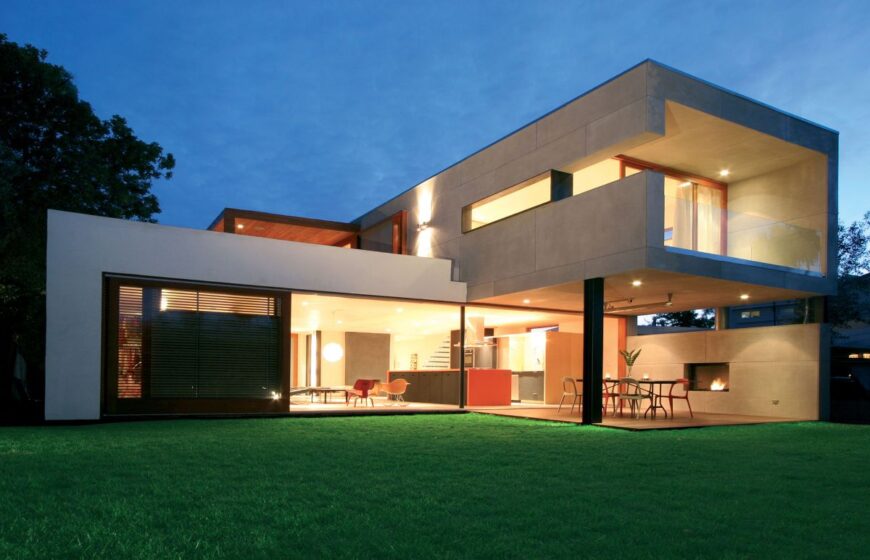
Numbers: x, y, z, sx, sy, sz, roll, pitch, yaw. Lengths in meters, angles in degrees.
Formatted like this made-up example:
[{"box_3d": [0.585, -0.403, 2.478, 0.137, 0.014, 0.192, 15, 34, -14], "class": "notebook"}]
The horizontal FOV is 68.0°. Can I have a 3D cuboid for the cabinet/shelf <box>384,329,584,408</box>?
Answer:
[{"box_3d": [1.622, 2.832, 20.820, 4.536, 2.393, 4.303, 1, -1, -34], "class": "cabinet/shelf"}]

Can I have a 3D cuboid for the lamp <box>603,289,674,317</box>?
[{"box_3d": [5.613, 0.718, 18.058, 1.746, 0.653, 3.450, 1, -1, 15], "class": "lamp"}]
